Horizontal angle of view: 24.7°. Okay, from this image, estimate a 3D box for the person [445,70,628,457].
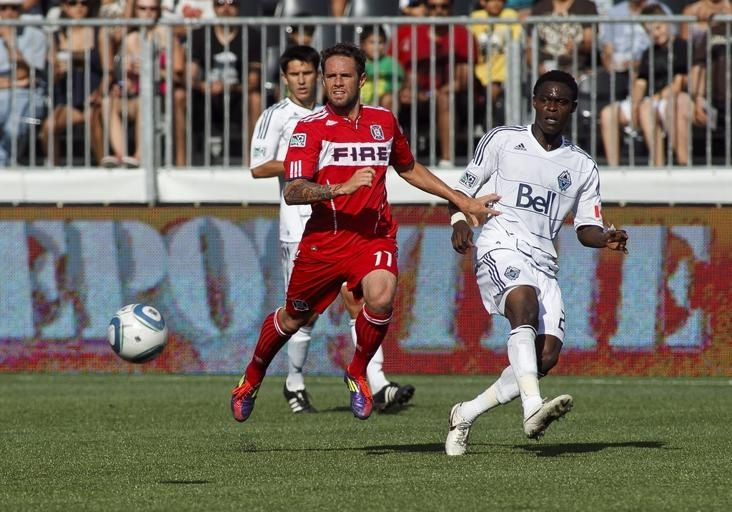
[{"bbox_3d":[1.308,0.045,13.448,1.354,3.022,1.108,-4,6,-35],"label":"person"}]

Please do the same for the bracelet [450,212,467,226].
[{"bbox_3d":[0.743,-0.288,13.557,0.095,0.086,0.102,-2,-8,19],"label":"bracelet"}]

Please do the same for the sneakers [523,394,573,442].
[{"bbox_3d":[1.415,1.288,13.230,0.374,0.140,0.208,-43,30,10],"label":"sneakers"}]

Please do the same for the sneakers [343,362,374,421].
[{"bbox_3d":[-0.105,1.085,13.714,0.154,0.476,0.231,0,-33,-36],"label":"sneakers"}]

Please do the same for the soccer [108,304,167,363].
[{"bbox_3d":[-1.980,0.649,14.661,0.449,0.511,0.462,11,8,-10],"label":"soccer"}]

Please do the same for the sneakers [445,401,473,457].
[{"bbox_3d":[0.743,1.377,13.403,0.146,0.476,0.189,0,5,-9],"label":"sneakers"}]

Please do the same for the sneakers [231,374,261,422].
[{"bbox_3d":[-0.987,1.209,13.834,0.149,0.480,0.174,30,-48,-33],"label":"sneakers"}]
